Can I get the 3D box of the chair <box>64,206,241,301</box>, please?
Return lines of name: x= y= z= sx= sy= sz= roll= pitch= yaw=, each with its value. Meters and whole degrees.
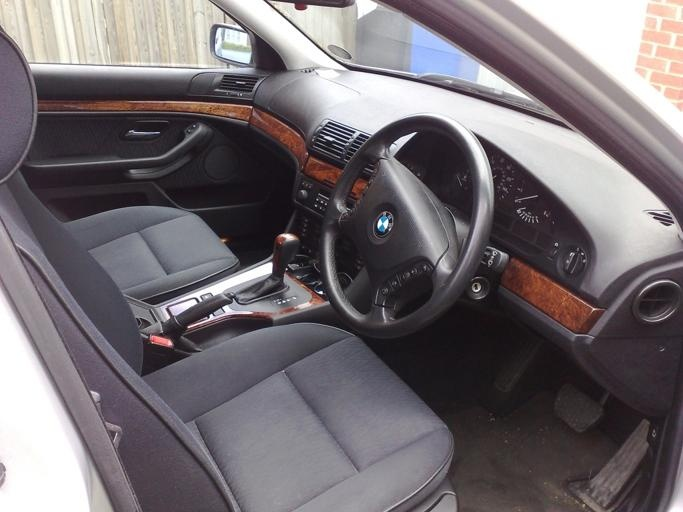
chair: x=-0.614 y=-0.026 z=1.620 sx=0.450 sy=0.163 sz=0.337 roll=-21 pitch=59 yaw=-22
